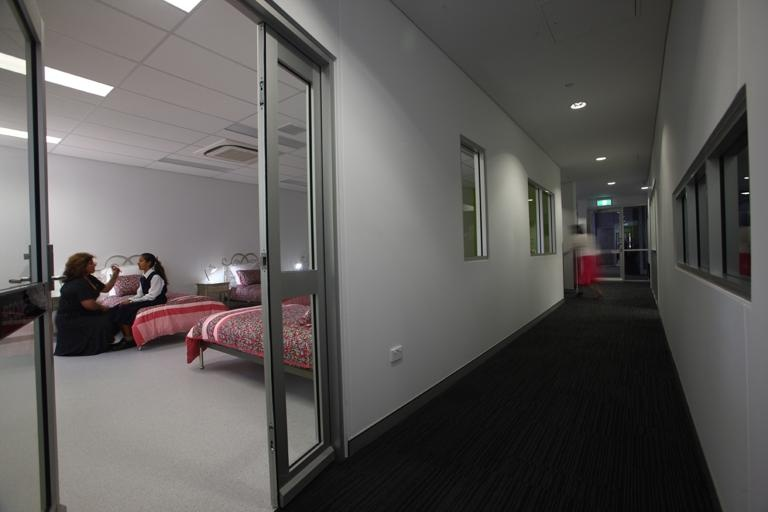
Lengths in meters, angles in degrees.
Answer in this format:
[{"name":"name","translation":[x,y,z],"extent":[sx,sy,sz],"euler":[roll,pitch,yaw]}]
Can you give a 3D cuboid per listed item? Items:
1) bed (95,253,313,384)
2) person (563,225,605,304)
[{"name":"bed","translation":[-1.885,0.394,5.264],"extent":[2.287,0.960,1.404],"euler":[2,6,37]},{"name":"person","translation":[4.623,0.144,10.213],"extent":[0.576,1.555,1.362],"euler":[2,13,14]}]
